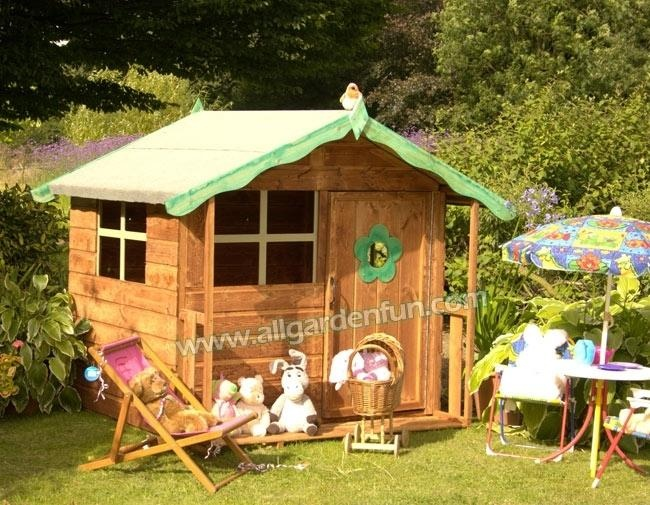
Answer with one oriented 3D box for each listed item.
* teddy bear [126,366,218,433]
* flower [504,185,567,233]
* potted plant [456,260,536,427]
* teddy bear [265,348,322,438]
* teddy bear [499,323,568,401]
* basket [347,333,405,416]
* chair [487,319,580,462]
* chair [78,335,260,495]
[{"bbox_3d":[-1.714,1.681,10.646,0.311,1.053,0.542,-42,-5,23],"label":"teddy bear"},{"bbox_3d":[3.608,-0.739,16.196,0.810,1.047,0.866,4,-2,-18],"label":"flower"},{"bbox_3d":[2.359,1.047,13.140,1.464,2.573,1.575,2,-1,12],"label":"potted plant"},{"bbox_3d":[-0.379,1.660,11.694,0.591,1.013,0.604,1,11,-2],"label":"teddy bear"},{"bbox_3d":[2.361,1.420,11.523,0.757,0.384,1.107,3,19,-2],"label":"teddy bear"},{"bbox_3d":[0.619,1.421,11.404,0.642,1.043,1.007,2,12,4],"label":"basket"},{"bbox_3d":[2.419,1.552,11.024,0.792,1.600,0.965,3,-2,23],"label":"chair"},{"bbox_3d":[-1.799,1.722,10.775,1.805,1.489,1.138,2,5,22],"label":"chair"}]
